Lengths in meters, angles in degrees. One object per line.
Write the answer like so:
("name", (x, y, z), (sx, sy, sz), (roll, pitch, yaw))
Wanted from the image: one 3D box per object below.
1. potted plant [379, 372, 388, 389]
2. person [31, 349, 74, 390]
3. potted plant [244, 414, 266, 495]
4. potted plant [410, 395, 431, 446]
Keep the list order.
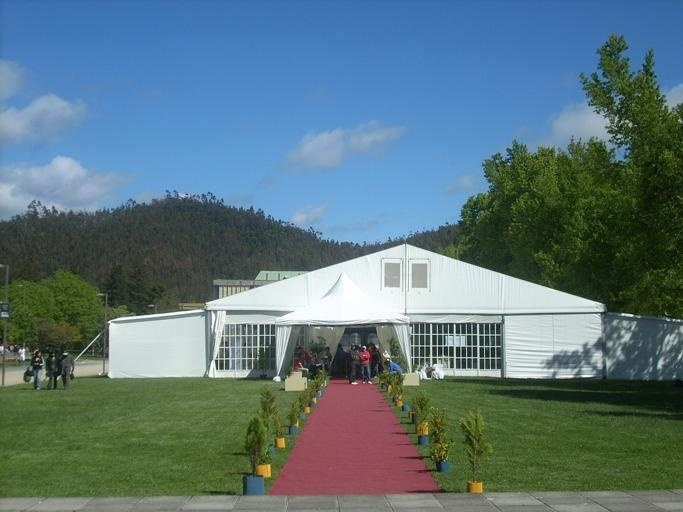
("potted plant", (1.937, 5.211, 33.293), (0.575, 0.748, 0.616), (2, -8, -3))
("person", (-12.438, 5.003, 35.029), (1.073, 1.661, 1.848), (4, -10, -21))
("potted plant", (-1.847, 4.286, 17.196), (0.492, 1.628, 1.147), (1, -9, -7))
("potted plant", (2.147, 4.361, 21.306), (0.411, 1.278, 1.394), (0, -9, 6))
